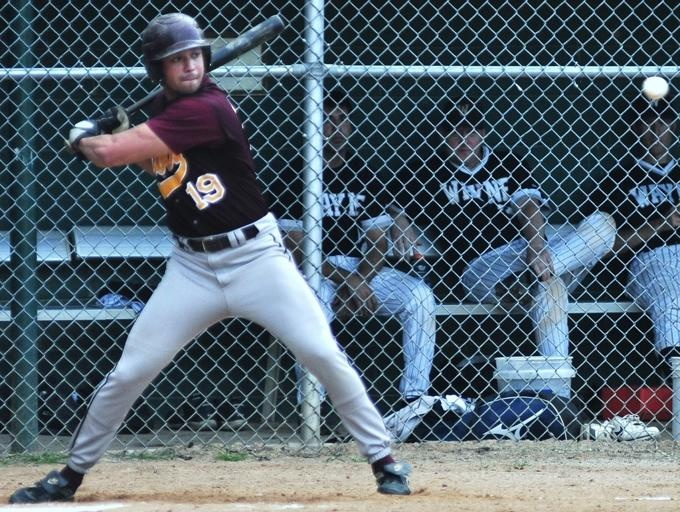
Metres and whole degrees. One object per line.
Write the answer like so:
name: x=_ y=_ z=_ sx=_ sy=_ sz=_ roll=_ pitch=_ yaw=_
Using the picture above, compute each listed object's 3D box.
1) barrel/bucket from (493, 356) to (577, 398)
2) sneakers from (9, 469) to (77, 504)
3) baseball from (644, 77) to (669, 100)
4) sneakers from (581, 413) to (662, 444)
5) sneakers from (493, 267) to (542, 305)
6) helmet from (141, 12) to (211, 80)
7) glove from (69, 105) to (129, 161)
barrel/bucket: x=1.028 y=0.627 z=6.706 sx=0.384 sy=0.243 sz=0.243 roll=0 pitch=2 yaw=5
sneakers: x=-1.277 y=0.993 z=5.417 sx=0.312 sy=0.121 sz=0.109 roll=6 pitch=27 yaw=-24
baseball: x=1.852 y=-0.995 z=7.408 sx=0.142 sy=0.095 sz=0.134 roll=-6 pitch=20 yaw=2
sneakers: x=1.465 y=0.916 z=6.684 sx=0.445 sy=0.153 sz=0.153 roll=-1 pitch=-8 yaw=-4
sneakers: x=0.995 y=0.171 z=7.075 sx=0.226 sy=0.205 sz=0.175 roll=27 pitch=-1 yaw=9
helmet: x=-0.724 y=-0.942 z=5.438 sx=0.277 sy=0.226 sz=0.297 roll=-16 pitch=38 yaw=-19
glove: x=-1.024 y=-0.502 z=5.522 sx=0.257 sy=0.094 sz=0.245 roll=-24 pitch=33 yaw=-1
